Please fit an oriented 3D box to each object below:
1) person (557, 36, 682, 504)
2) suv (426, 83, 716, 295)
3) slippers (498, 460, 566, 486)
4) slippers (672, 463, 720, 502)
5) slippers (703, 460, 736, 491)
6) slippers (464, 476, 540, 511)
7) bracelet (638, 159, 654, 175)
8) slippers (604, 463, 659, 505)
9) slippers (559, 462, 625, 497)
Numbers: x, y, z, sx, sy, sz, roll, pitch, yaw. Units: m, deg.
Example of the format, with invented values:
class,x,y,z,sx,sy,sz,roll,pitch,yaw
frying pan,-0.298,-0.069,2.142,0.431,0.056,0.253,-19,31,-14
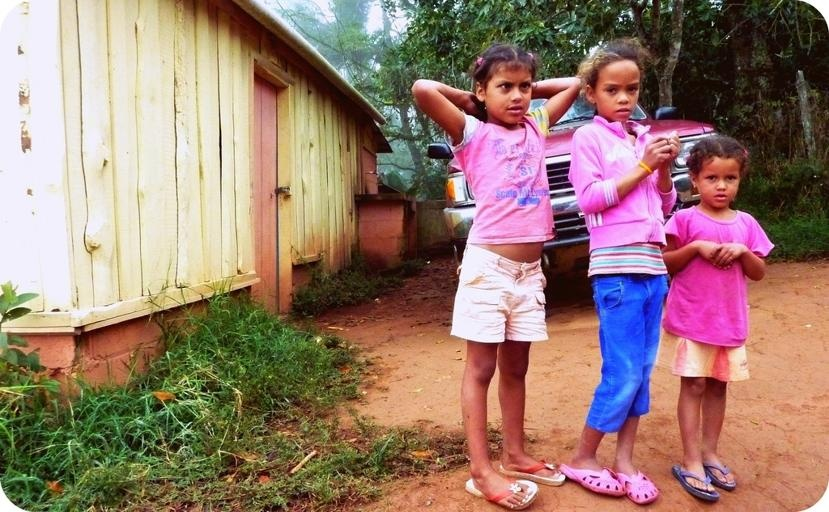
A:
class,x,y,z,sx,sy,sz,roll,pitch,yaw
person,1.337,0.058,4.083,0.698,2.926,0.865,4,12,13
suv,1.389,-0.813,7.873,2.048,1.459,3.096,-9,2,1
slippers,0.798,1.421,4.133,0.337,0.101,0.155,1,7,19
slippers,1.846,1.483,4.047,0.145,0.081,0.260,-8,18,-30
slippers,2.019,1.448,4.110,0.121,0.069,0.252,-17,36,-10
slippers,0.549,1.514,3.962,0.346,0.049,0.194,5,19,34
bracelet,1.468,-0.561,3.910,0.020,0.082,0.085,-43,-21,11
slippers,1.421,1.477,3.984,0.154,0.081,0.285,-11,10,-14
slippers,1.171,1.442,4.021,0.287,0.088,0.161,10,8,40
